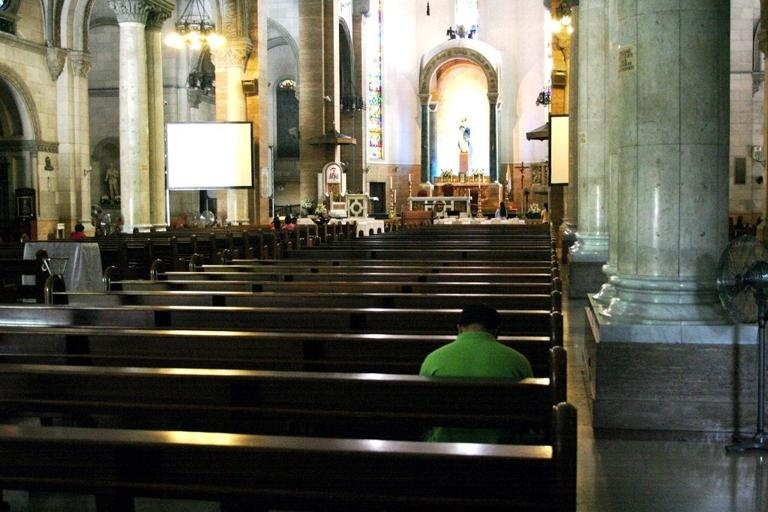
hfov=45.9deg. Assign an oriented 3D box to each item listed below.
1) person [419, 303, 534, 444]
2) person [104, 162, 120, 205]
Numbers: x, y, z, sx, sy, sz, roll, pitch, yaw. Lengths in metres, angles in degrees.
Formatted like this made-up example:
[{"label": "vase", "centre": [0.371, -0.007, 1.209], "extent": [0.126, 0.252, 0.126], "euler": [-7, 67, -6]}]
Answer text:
[{"label": "person", "centre": [0.664, 0.796, 6.225], "extent": [0.853, 0.962, 0.502], "euler": [-2, -5, 15]}, {"label": "person", "centre": [-8.813, -2.254, 29.291], "extent": [0.457, 1.179, 1.126], "euler": [-2, 4, -17]}]
